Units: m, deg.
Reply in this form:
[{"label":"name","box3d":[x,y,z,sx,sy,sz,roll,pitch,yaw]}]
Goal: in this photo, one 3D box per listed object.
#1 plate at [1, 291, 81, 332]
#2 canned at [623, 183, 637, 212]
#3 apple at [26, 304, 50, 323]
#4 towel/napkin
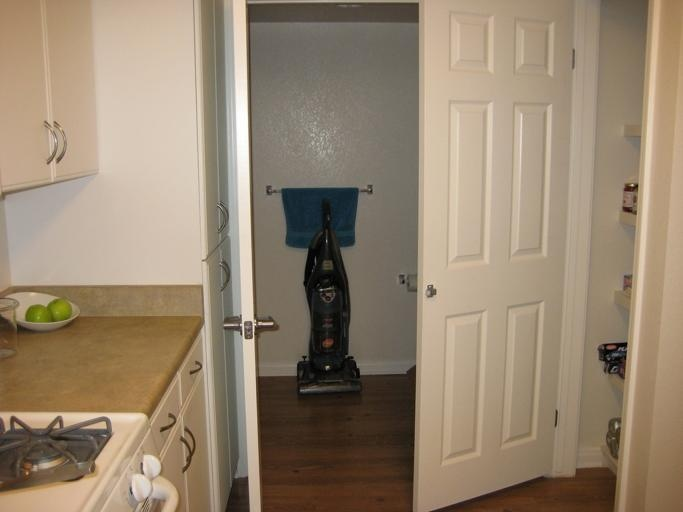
[{"label":"plate","box3d":[-1.200,0.213,2.380,0.174,0.053,0.198,10,30,-10]},{"label":"canned","box3d":[1.388,-0.281,2.853,0.056,0.141,0.102,4,14,20]},{"label":"apple","box3d":[-1.180,0.228,2.297,0.065,0.088,0.073,-16,-16,12]},{"label":"towel/napkin","box3d":[-0.156,-0.272,4.000,0.375,0.332,0.057,0,8,-1]}]
